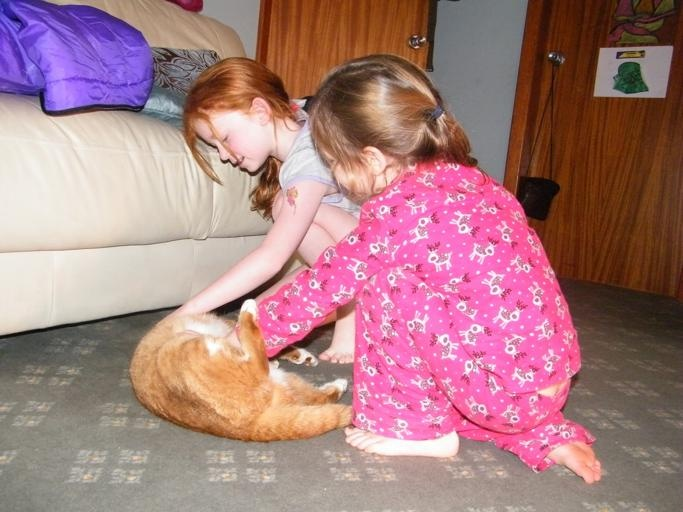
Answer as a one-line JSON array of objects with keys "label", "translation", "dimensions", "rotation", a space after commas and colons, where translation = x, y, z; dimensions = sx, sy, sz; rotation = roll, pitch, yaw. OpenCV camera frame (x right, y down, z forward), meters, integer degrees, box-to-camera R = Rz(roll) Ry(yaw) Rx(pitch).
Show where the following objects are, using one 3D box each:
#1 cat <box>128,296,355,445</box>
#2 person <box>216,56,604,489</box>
[{"label": "cat", "translation": [-0.354, 0.256, 1.502], "dimensions": [0.399, 0.213, 0.508], "rotation": [2, 5, -22]}, {"label": "person", "translation": [0.359, -0.134, 1.658], "dimensions": [0.778, 1.195, 1.191], "rotation": [-29, 35, -35]}]
